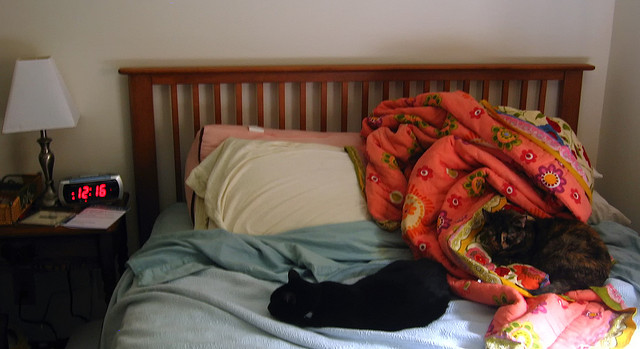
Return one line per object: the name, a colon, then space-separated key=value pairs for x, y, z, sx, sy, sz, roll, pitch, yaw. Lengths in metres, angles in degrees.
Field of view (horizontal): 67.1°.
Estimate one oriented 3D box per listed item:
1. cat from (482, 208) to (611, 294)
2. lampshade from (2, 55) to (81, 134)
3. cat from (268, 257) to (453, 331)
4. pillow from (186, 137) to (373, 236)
cat: x=1.228 y=0.367 z=2.597 sx=0.722 sy=0.266 sz=0.533 roll=8 pitch=31 yaw=-9
lampshade: x=-1.659 y=-0.508 z=3.090 sx=0.514 sy=0.516 sz=0.454 roll=-12 pitch=24 yaw=-26
cat: x=0.178 y=0.628 z=2.377 sx=0.818 sy=0.332 sz=0.334 roll=-1 pitch=-30 yaw=-3
pillow: x=-0.212 y=0.070 z=2.718 sx=0.844 sy=0.566 sz=0.236 roll=-4 pitch=-31 yaw=-14
